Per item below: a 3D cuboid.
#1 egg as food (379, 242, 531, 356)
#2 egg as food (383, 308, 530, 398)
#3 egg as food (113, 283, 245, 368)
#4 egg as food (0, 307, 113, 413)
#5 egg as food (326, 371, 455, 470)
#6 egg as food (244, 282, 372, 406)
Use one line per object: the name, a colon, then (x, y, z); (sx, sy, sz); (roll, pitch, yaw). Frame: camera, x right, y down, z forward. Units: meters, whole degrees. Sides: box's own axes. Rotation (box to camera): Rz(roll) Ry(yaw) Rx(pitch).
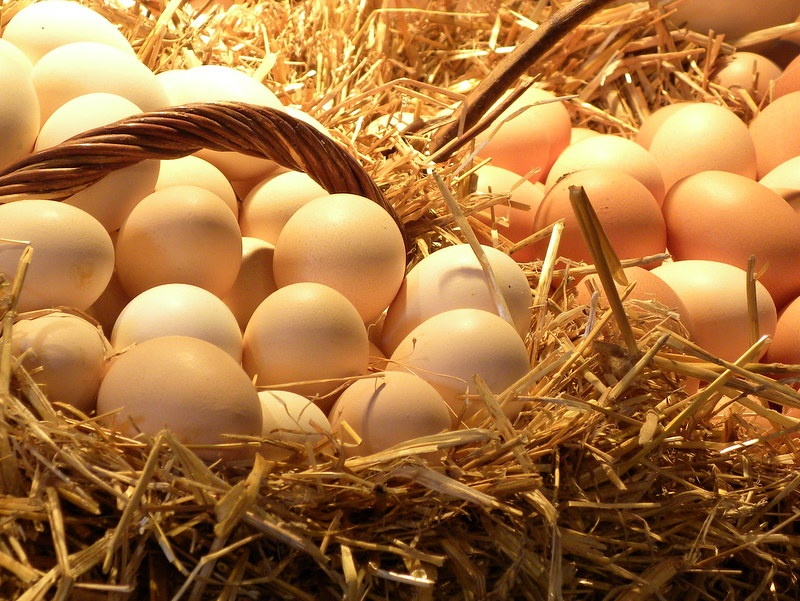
egg as food: (0.052, -0.012, 0.868); (0.142, 0.101, 0.094); (-26, 68, 1)
egg as food: (0.055, 0.048, 0.741); (0.163, 0.087, 0.096); (-5, 11, 10)
egg as food: (-0.220, 0.032, 0.792); (0.111, 0.084, 0.083); (19, 41, -3)
egg as food: (-0.289, 0.054, 0.686); (0.069, 0.071, 0.063); (-8, 30, -23)
egg as food: (-0.009, 0.102, 0.740); (0.105, 0.078, 0.079); (12, 33, -1)
egg as food: (-0.085, 0.032, 0.783); (0.108, 0.097, 0.110); (-18, 56, 6)
